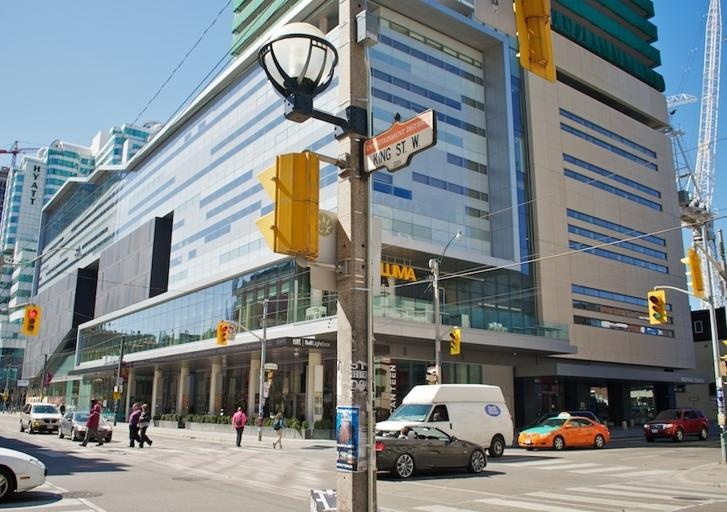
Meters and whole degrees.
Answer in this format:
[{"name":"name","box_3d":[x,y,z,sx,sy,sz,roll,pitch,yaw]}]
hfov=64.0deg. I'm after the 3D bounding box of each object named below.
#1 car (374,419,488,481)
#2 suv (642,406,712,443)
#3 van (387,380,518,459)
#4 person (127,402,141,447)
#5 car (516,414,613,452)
[{"name":"car","box_3d":[2.367,7.525,22.605,5.256,1.523,2.268,6,-14,-22]},{"name":"suv","box_3d":[20.266,11.008,37.803,4.299,2.050,1.392,8,-22,-26]},{"name":"van","box_3d":[4.567,7.335,27.149,6.107,2.755,3.147,14,-23,-28]},{"name":"person","box_3d":[-11.731,8.663,29.794,0.507,2.094,1.147,6,-21,-19]},{"name":"car","box_3d":[10.726,9.801,31.858,4.648,1.575,2.095,9,-21,-24]}]
